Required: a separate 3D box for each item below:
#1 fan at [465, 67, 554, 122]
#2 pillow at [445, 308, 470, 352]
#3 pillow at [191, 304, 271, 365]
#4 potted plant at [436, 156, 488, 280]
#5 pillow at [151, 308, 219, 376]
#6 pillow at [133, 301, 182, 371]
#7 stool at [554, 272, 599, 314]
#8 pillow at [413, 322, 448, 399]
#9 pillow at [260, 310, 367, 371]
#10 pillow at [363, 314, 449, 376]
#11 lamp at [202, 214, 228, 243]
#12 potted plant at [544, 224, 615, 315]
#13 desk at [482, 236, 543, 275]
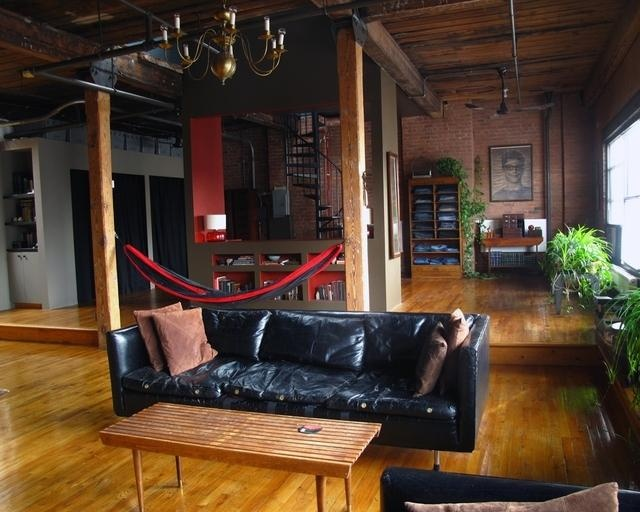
[{"bbox_3d":[3.620,-2.791,9.558,1.309,0.651,1.165,0,0,9],"label":"fan"},{"bbox_3d":[0.918,0.500,3.438,0.107,0.230,0.262,5,3,19],"label":"pillow"},{"bbox_3d":[-0.734,0.659,4.414,0.620,0.371,0.212,2,6,17],"label":"pillow"},{"bbox_3d":[2.848,-0.785,10.308,0.919,2.375,0.488,-1,4,15],"label":"potted plant"},{"bbox_3d":[-1.111,0.685,4.220,0.284,0.466,0.566,5,6,32],"label":"pillow"},{"bbox_3d":[-1.329,0.657,4.187,0.143,0.450,0.466,-19,-5,30],"label":"pillow"},{"bbox_3d":[3.219,0.472,6.547,0.564,0.535,0.574,-1,-4,16],"label":"stool"},{"bbox_3d":[0.785,0.716,3.580,0.218,0.394,0.591,0,4,14],"label":"pillow"},{"bbox_3d":[-0.041,0.632,4.085,0.942,0.383,0.351,1,17,25],"label":"pillow"},{"bbox_3d":[0.734,0.698,3.945,0.729,0.477,0.408,-9,-21,41],"label":"pillow"},{"bbox_3d":[-1.478,-0.399,7.261,0.312,0.385,0.421,-3,4,-16],"label":"lamp"},{"bbox_3d":[3.215,0.166,6.435,0.752,1.008,1.766,-1,3,23],"label":"potted plant"},{"bbox_3d":[3.728,0.039,10.341,1.426,0.820,0.782,-1,-1,3],"label":"desk"}]
